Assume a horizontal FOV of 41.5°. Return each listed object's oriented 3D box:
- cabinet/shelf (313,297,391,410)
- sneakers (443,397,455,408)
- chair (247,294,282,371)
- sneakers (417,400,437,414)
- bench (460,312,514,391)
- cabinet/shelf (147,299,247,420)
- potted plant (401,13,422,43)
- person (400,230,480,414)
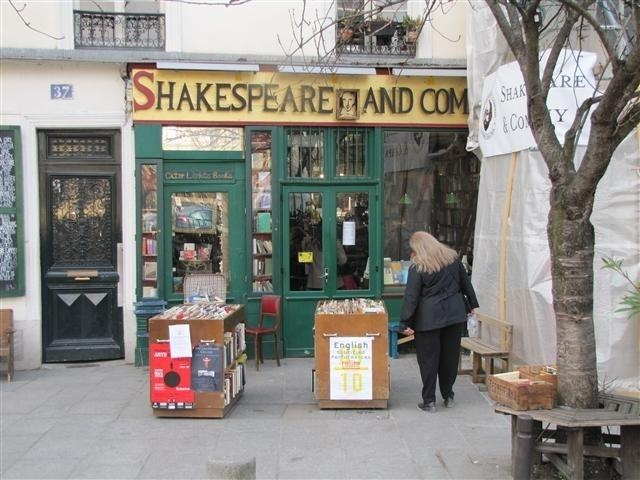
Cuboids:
[{"bbox_3d":[0.476,1.367,11.893,1.027,1.482,1.445,-1,21,2],"label":"cabinet/shelf"},{"bbox_3d":[1.731,2.163,11.315,0.109,0.098,0.213,1,4,9],"label":"sneakers"},{"bbox_3d":[-0.966,1.420,13.261,0.711,1.116,0.764,0,0,-3],"label":"chair"},{"bbox_3d":[1.438,2.198,11.174,0.102,0.112,0.247,0,3,-30],"label":"sneakers"},{"bbox_3d":[2.407,1.596,12.501,0.475,0.933,1.514,-1,2,-8],"label":"bench"},{"bbox_3d":[-1.633,1.658,11.912,0.994,1.387,1.869,0,2,4],"label":"cabinet/shelf"},{"bbox_3d":[1.490,-3.442,13.716,0.281,0.468,0.570,0,11,4],"label":"potted plant"},{"bbox_3d":[1.558,1.081,11.270,0.786,2.245,0.758,5,12,27],"label":"person"}]
